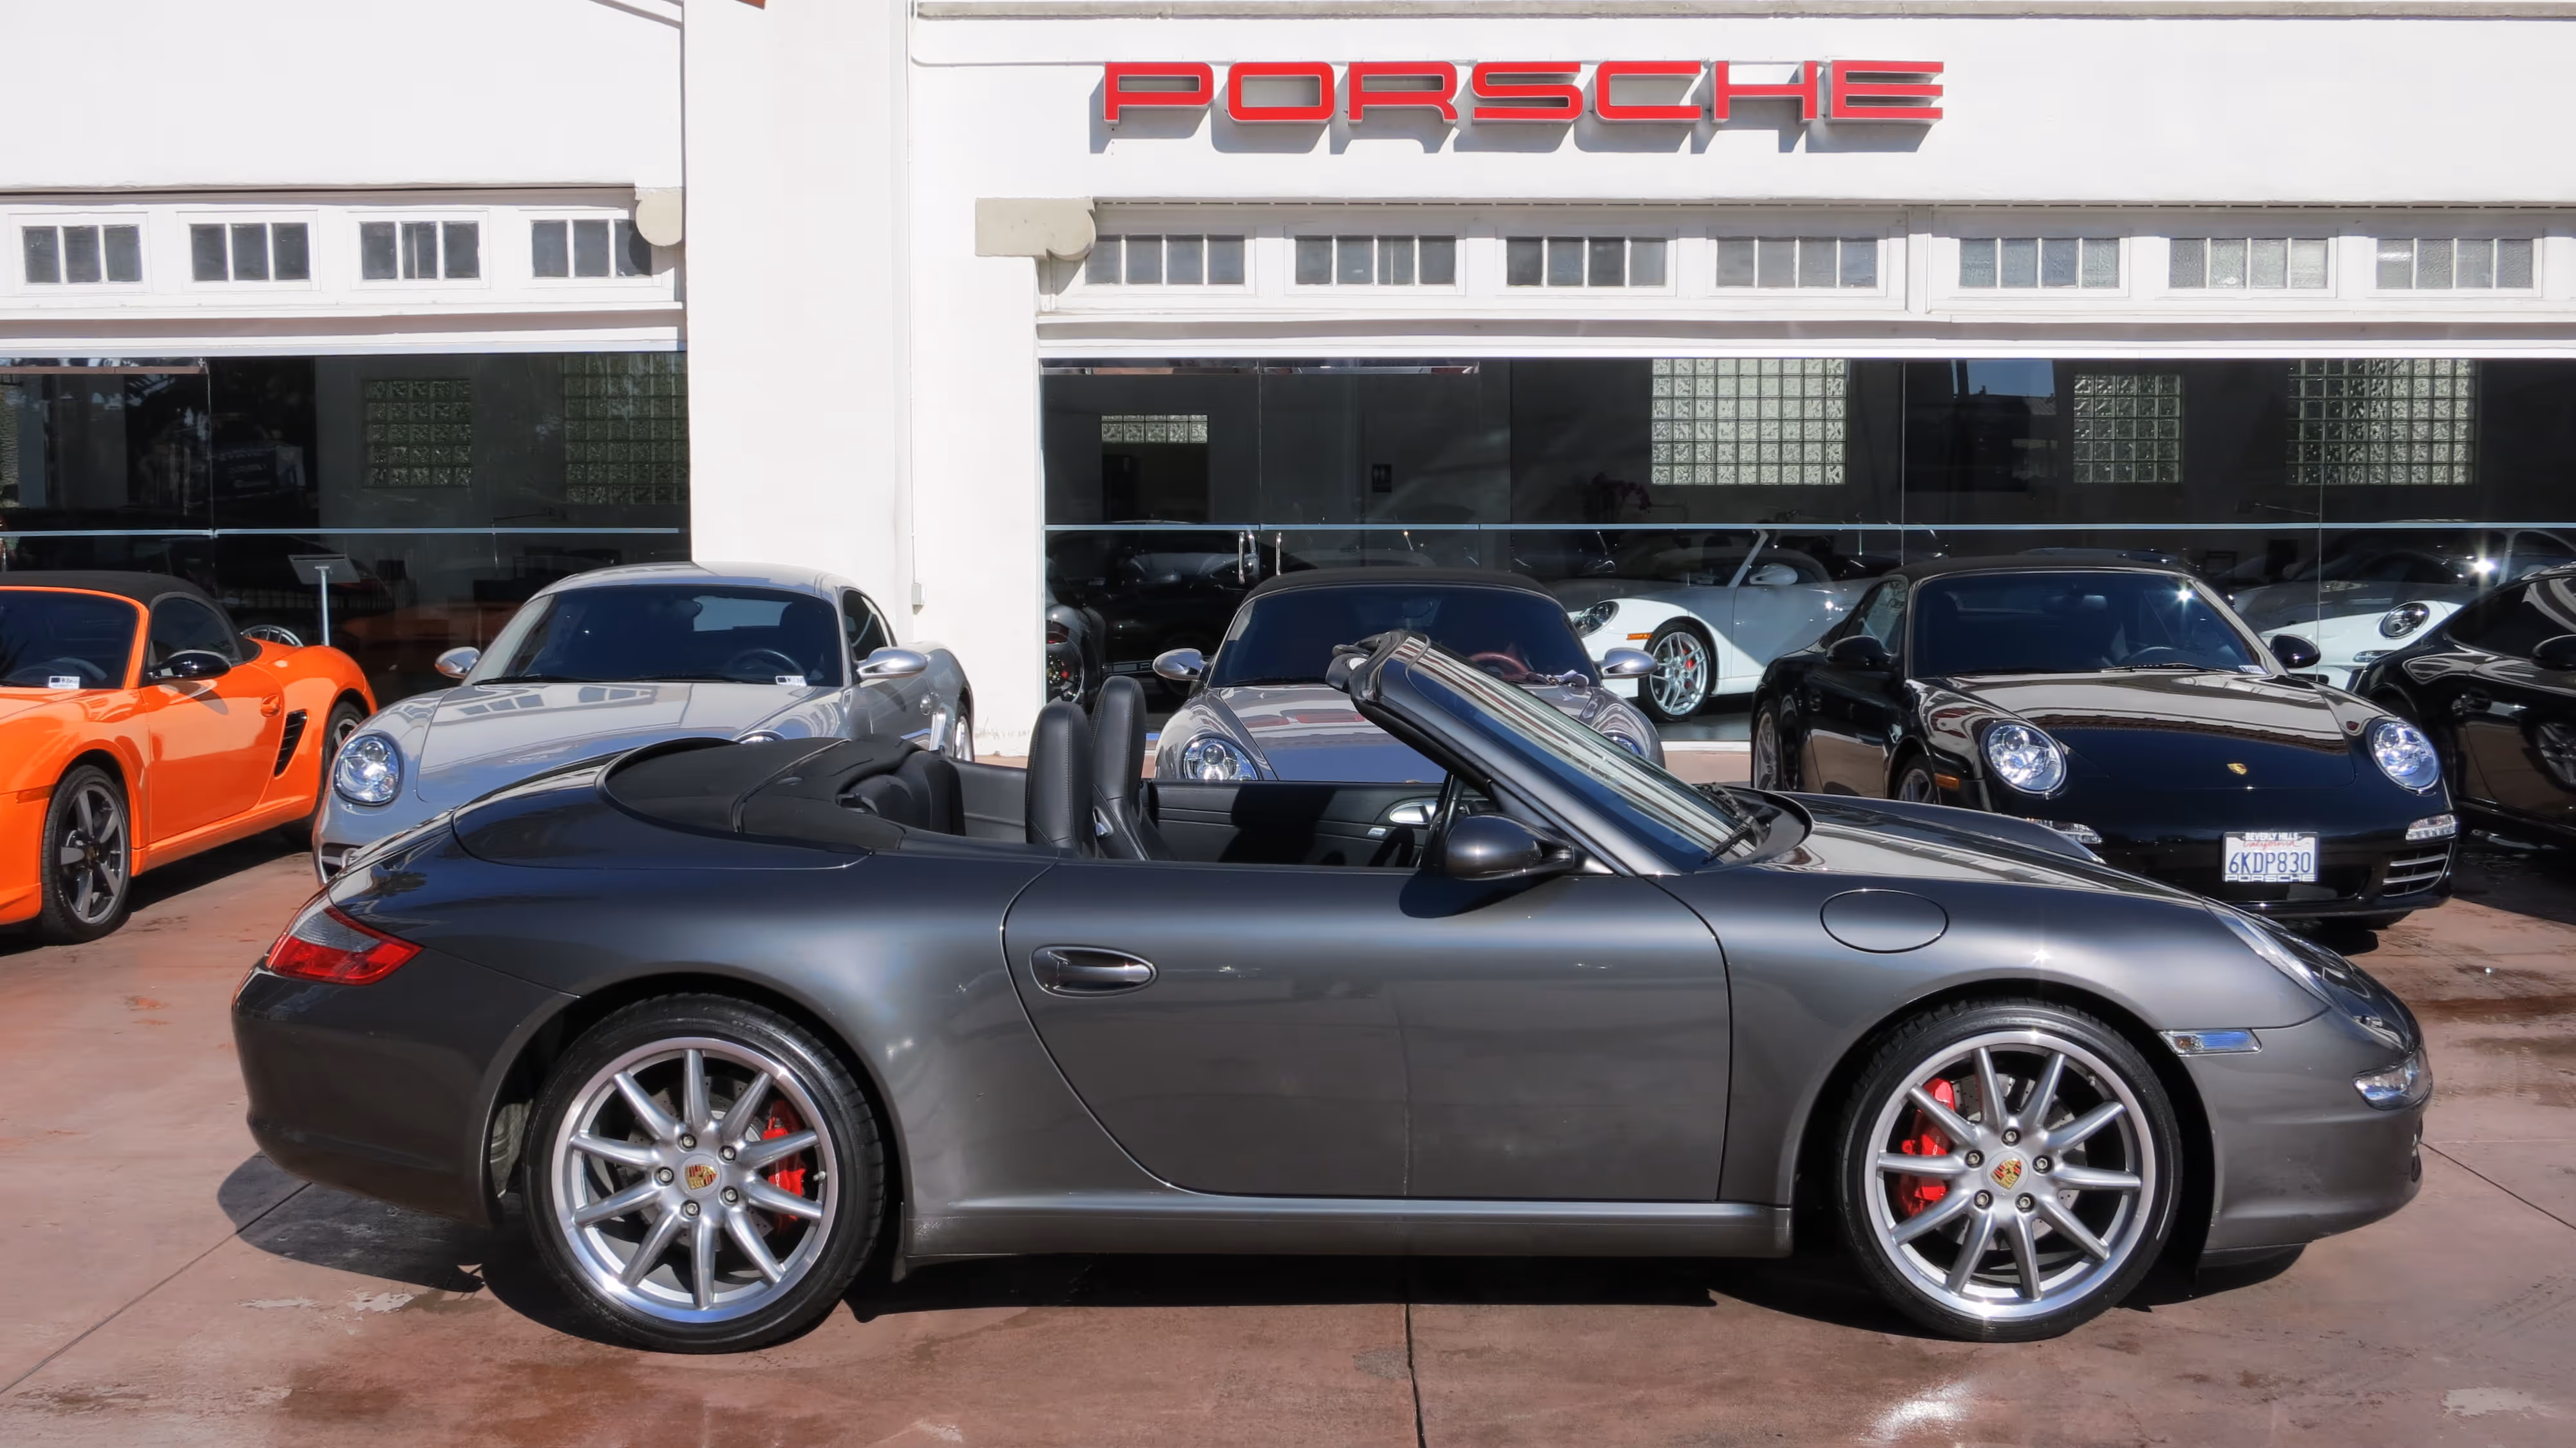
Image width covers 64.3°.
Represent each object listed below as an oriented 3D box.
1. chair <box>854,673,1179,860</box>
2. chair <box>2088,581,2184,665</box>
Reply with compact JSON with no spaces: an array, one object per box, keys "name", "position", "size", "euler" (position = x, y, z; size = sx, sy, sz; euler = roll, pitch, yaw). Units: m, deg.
[{"name":"chair","position":[-1.174,0.170,8.980],"size":[1.061,0.920,0.645],"euler":[3,2,16]},{"name":"chair","position":[5.362,-0.667,13.045],"size":[0.342,0.570,0.228],"euler":[11,2,17]}]
